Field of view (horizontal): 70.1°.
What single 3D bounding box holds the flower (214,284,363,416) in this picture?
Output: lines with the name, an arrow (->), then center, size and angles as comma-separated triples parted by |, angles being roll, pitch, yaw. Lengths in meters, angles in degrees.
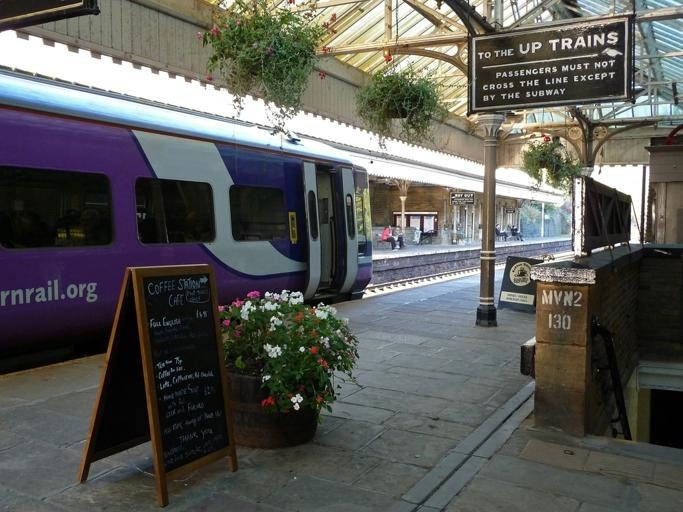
flower -> -0.515, 0.928, 4.332 | 1.183, 0.962, 1.238 | -5, -3, -16

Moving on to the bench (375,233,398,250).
bench -> 2.985, -0.945, 32.827 | 1.447, 0.804, 1.563 | 1, 3, 7

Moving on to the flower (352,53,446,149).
flower -> 0.788, -2.869, 8.931 | 1.067, 0.982, 1.259 | -11, 12, -22

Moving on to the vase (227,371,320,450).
vase -> -0.579, 1.288, 3.997 | 0.623, 0.426, 0.628 | 0, -2, -2

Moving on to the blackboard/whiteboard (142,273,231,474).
blackboard/whiteboard -> -1.089, 0.782, 3.481 | 0.250, 1.294, 0.578 | 3, 4, 40
